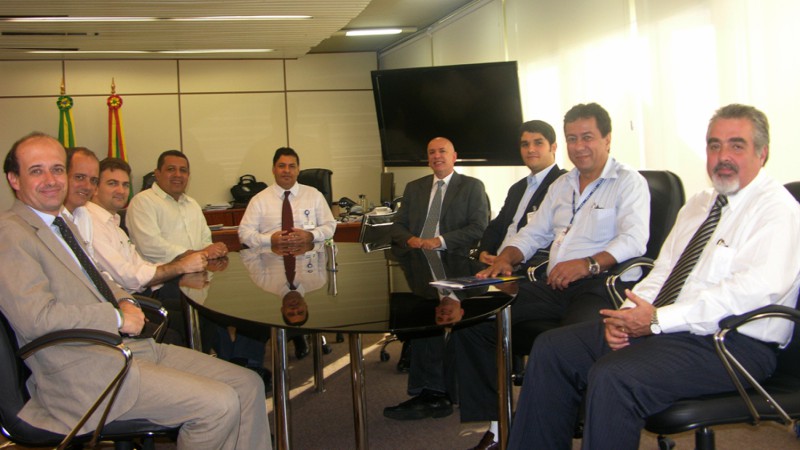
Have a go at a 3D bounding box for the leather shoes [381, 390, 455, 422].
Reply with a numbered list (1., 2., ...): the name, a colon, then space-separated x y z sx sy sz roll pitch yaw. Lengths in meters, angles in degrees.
1. leather shoes: 0.165 1.419 4.558 0.683 0.258 0.212 1 -2 -5

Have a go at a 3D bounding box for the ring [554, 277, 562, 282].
1. ring: 1.145 0.395 4.159 0.048 0.014 0.033 -1 6 -25

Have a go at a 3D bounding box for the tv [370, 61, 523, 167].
1. tv: 0.590 -1.290 6.708 1.753 0.973 0.071 2 24 33

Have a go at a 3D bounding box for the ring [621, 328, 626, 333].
1. ring: 1.376 0.647 3.534 0.025 0.032 0.012 -20 -16 25

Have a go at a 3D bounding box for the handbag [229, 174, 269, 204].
1. handbag: -2.294 -0.528 8.525 0.650 0.589 0.267 -3 -7 -5

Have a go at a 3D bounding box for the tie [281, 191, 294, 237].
1. tie: -1.134 -0.150 5.750 0.120 0.361 0.187 -1 10 4

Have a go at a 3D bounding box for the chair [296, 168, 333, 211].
1. chair: -1.017 -0.477 7.451 0.498 0.578 0.542 -2 10 13

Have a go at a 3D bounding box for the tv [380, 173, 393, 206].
1. tv: -0.199 -0.512 8.458 0.281 0.472 0.520 0 5 -1
